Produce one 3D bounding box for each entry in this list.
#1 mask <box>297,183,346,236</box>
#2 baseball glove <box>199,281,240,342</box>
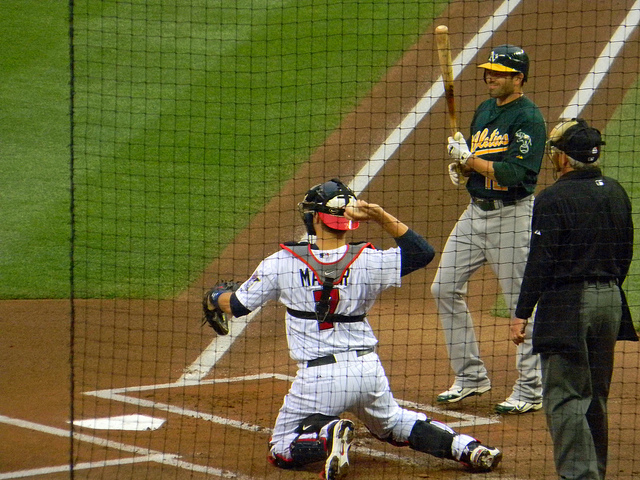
[{"bbox_3d":[0.116,-0.327,11.932,0.515,0.476,0.617,-3,3,-25],"label":"mask"},{"bbox_3d":[-0.973,0.657,12.076,0.224,0.525,0.417,-29,14,19],"label":"baseball glove"}]
